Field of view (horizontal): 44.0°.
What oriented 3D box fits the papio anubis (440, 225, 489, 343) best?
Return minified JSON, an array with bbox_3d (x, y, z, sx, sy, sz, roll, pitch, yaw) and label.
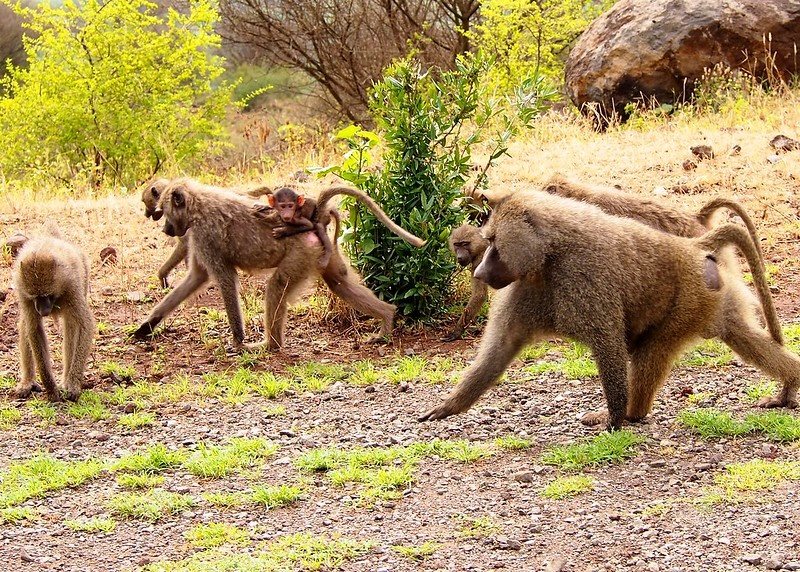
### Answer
[{"bbox_3d":[0.662,-0.098,9.494,0.649,1.232,0.326,-2,1,-26],"label":"papio anubis"}]
